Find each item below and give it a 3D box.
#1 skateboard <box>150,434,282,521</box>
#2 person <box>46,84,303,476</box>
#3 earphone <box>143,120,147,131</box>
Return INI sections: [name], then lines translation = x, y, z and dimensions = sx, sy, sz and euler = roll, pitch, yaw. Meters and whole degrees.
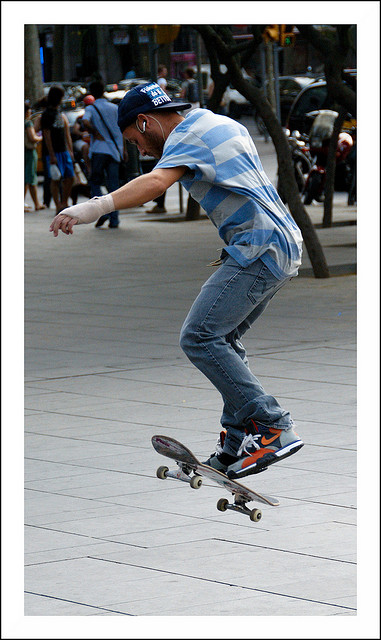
[skateboard]
translation = 0.094, 0.716, 3.444
dimensions = 0.800, 0.145, 0.270
euler = 30, -17, -25
[person]
translation = 0.081, -0.119, 3.574
dimensions = 0.881, 1.948, 0.741
euler = -1, 14, 7
[earphone]
translation = -0.206, -0.897, 3.491
dimensions = 0.011, 0.035, 0.011
euler = 1, 12, 2
